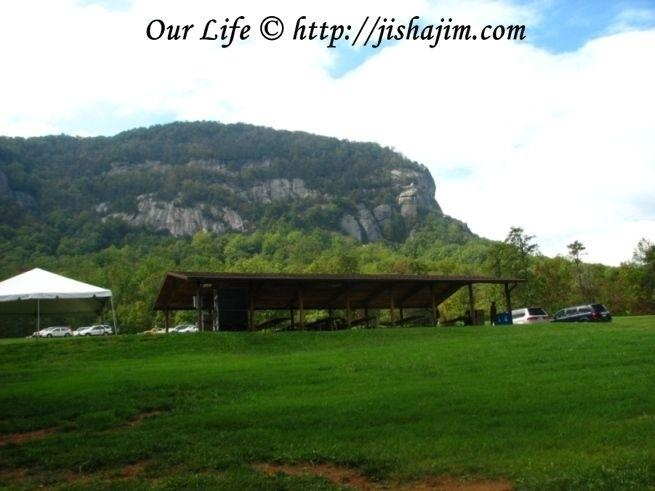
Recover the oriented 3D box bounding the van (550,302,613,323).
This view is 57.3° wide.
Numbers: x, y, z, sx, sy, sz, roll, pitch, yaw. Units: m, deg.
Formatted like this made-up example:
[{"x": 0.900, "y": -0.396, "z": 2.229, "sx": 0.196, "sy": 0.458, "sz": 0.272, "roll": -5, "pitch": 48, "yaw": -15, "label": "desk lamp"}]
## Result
[{"x": 15.094, "y": 4.123, "z": 36.107, "sx": 1.392, "sy": 1.208, "sz": 3.040, "roll": 7, "pitch": -7, "yaw": -39, "label": "van"}]
